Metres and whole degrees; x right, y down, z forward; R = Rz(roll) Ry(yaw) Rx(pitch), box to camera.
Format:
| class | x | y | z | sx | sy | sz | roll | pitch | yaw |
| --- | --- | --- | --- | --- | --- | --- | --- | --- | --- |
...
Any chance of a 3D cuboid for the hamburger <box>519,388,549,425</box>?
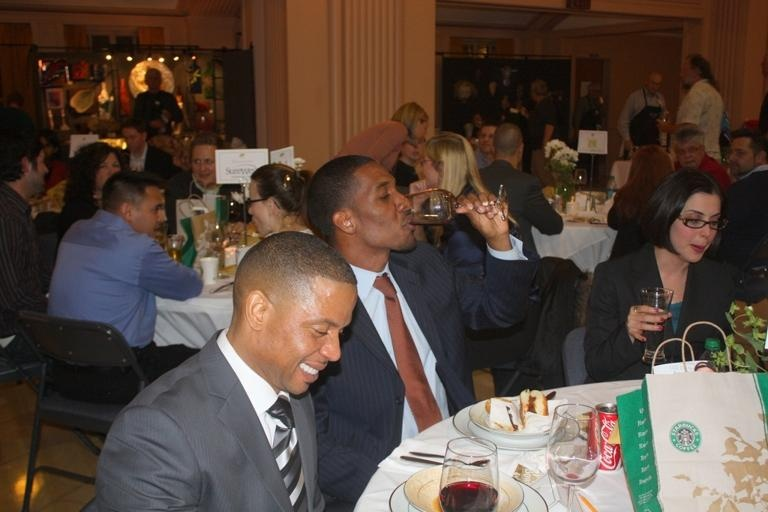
| class | x | y | z | sx | sy | sz | roll | pitch | yaw |
| --- | --- | --- | --- | --- | --- | --- | --- | --- | --- |
| hamburger | 0.520 | 0.538 | 2.225 | 0.106 | 0.065 | 0.143 | -1 | 32 | 15 |

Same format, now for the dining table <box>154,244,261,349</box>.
| class | x | y | z | sx | sy | sz | roll | pitch | yaw |
| --- | --- | --- | --- | --- | --- | --- | --- | --- | --- |
| dining table | -1.055 | 0.195 | 3.778 | 0.482 | 0.245 | 0.633 | 0 | 10 | 1 |

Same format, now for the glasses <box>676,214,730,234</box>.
| class | x | y | z | sx | sy | sz | roll | pitch | yaw |
| --- | --- | --- | --- | --- | --- | --- | --- | --- | --- |
| glasses | 1.450 | -0.140 | 2.861 | 0.255 | 0.080 | 0.092 | -8 | 17 | -26 |

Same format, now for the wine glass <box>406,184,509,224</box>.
| class | x | y | z | sx | sy | sz | roll | pitch | yaw |
| --- | --- | --- | --- | --- | --- | --- | --- | --- | --- |
| wine glass | 0.289 | -0.189 | 2.653 | 0.469 | 0.167 | 0.151 | -2 | 3 | 42 |

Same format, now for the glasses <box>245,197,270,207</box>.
| class | x | y | z | sx | sy | sz | roll | pitch | yaw |
| --- | --- | --- | --- | --- | --- | --- | --- | --- | --- |
| glasses | -0.776 | -0.333 | 3.895 | 0.141 | 0.046 | 0.142 | -1 | 9 | 11 |

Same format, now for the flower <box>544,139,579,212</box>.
| class | x | y | z | sx | sy | sz | roll | pitch | yaw |
| --- | --- | --- | --- | --- | --- | --- | --- | --- | --- |
| flower | 1.706 | -0.714 | 6.028 | 0.280 | 0.617 | 0.349 | 4 | 4 | 28 |

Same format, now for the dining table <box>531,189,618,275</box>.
| class | x | y | z | sx | sy | sz | roll | pitch | yaw |
| --- | --- | --- | --- | --- | --- | --- | --- | --- | --- |
| dining table | 1.693 | -0.178 | 5.381 | 0.690 | 0.766 | 0.737 | 5 | 9 | 41 |

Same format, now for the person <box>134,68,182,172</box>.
| class | x | y | z | sx | sy | sz | roll | pitch | yaw |
| --- | --- | --- | --- | --- | --- | --- | --- | --- | --- |
| person | -3.362 | -1.811 | 9.517 | 0.590 | 1.949 | 0.594 | 0 | 32 | -10 |

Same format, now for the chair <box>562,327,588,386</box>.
| class | x | y | z | sx | sy | sz | roll | pitch | yaw |
| --- | --- | --- | --- | --- | --- | --- | --- | --- | --- |
| chair | 0.861 | 0.456 | 2.851 | 0.111 | 0.233 | 0.159 | 3 | 15 | 12 |

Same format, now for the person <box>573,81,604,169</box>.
| class | x | y | z | sx | sy | sz | roll | pitch | yaw |
| --- | --- | --- | --- | --- | --- | --- | --- | --- | --- |
| person | 3.575 | -2.246 | 11.023 | 0.500 | 1.496 | 1.416 | 5 | 16 | 19 |

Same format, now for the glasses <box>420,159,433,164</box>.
| class | x | y | z | sx | sy | sz | roll | pitch | yaw |
| --- | --- | --- | --- | --- | --- | --- | --- | --- | --- |
| glasses | 0.301 | -0.650 | 4.342 | 0.060 | 0.020 | 0.062 | 4 | 14 | 0 |

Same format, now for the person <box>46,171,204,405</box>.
| class | x | y | z | sx | sy | sz | roll | pitch | yaw |
| --- | --- | --- | --- | --- | --- | --- | --- | --- | --- |
| person | -1.506 | 0.333 | 3.635 | 0.616 | 1.565 | 0.857 | 9 | 13 | 29 |

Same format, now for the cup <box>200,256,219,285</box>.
| class | x | y | z | sx | sy | sz | roll | pitch | yaw |
| --- | --- | --- | --- | --- | --- | --- | --- | --- | --- |
| cup | -1.022 | 0.095 | 3.708 | 0.126 | 0.160 | 0.136 | 0 | 2 | 0 |

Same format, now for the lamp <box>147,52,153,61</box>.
| class | x | y | z | sx | sy | sz | roll | pitch | yaw |
| --- | --- | --- | --- | --- | --- | --- | --- | --- | --- |
| lamp | -3.799 | -3.220 | 10.248 | 0.095 | 0.058 | 0.100 | 1 | 28 | -9 |
